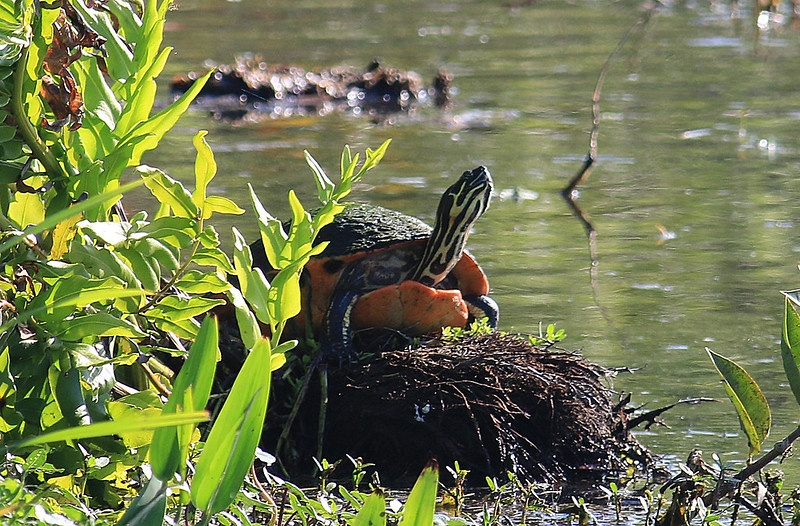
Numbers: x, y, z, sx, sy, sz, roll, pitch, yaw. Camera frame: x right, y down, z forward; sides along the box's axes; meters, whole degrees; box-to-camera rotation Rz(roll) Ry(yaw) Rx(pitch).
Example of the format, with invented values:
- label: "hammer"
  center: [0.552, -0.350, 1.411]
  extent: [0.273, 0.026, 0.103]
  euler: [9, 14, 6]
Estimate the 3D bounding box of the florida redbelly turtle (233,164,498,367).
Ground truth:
- label: "florida redbelly turtle"
  center: [-0.057, -0.029, 6.806]
  extent: [1.266, 0.957, 0.846]
  euler: [0, 8, -18]
